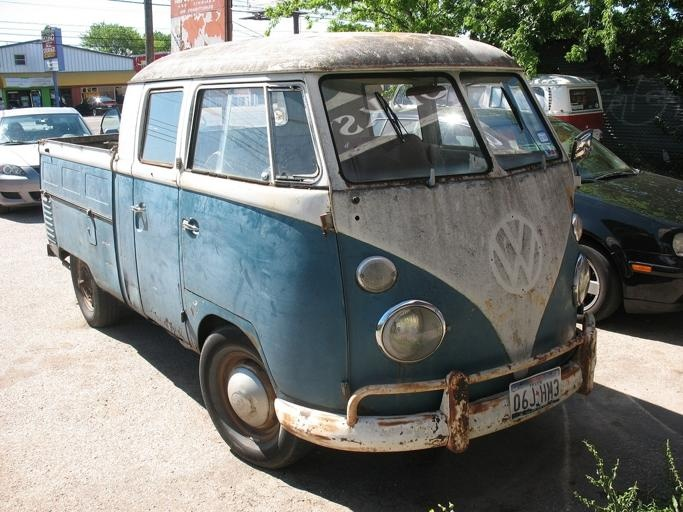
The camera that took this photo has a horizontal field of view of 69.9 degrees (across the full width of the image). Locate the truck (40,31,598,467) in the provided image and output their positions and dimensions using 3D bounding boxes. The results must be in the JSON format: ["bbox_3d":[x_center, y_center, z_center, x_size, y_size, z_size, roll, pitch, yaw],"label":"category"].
[{"bbox_3d":[-0.483,-0.337,3.815,2.283,1.913,3.923,-12,21,-38],"label":"truck"}]
